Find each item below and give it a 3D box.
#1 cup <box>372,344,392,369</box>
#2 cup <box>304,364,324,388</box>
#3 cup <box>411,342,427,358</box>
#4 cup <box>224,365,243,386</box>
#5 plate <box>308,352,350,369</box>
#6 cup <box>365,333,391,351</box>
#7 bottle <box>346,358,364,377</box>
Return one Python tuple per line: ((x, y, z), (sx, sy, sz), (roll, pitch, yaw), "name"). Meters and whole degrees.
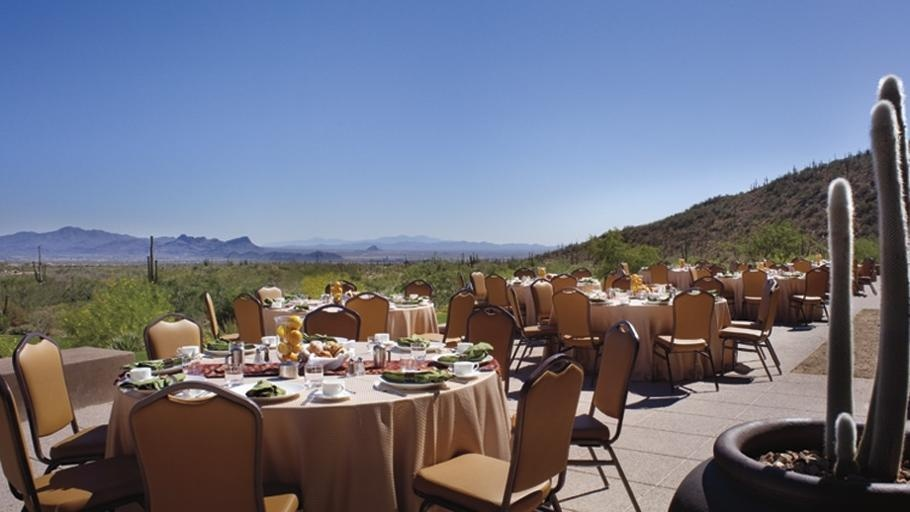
((-0.674, 0.927, 4.689), (0.151, 0.176, 0.253), (-1, -2, -11), "cup")
((-1.188, 1.012, 4.312), (0.147, 0.139, 0.195), (-1, -2, -18), "cup")
((-0.327, 0.888, 4.768), (0.142, 0.112, 0.125), (-6, 8, -33), "cup")
((-1.845, 1.011, 4.266), (0.159, 0.162, 0.155), (0, 4, 0), "cup")
((-1.137, 0.942, 4.589), (0.210, 0.075, 0.212), (-7, -6, 41), "plate")
((-0.818, 0.895, 5.342), (0.248, 0.173, 0.237), (1, 4, 0), "cup")
((-0.879, 1.006, 4.587), (0.110, 0.139, 0.178), (-6, -15, 30), "bottle")
